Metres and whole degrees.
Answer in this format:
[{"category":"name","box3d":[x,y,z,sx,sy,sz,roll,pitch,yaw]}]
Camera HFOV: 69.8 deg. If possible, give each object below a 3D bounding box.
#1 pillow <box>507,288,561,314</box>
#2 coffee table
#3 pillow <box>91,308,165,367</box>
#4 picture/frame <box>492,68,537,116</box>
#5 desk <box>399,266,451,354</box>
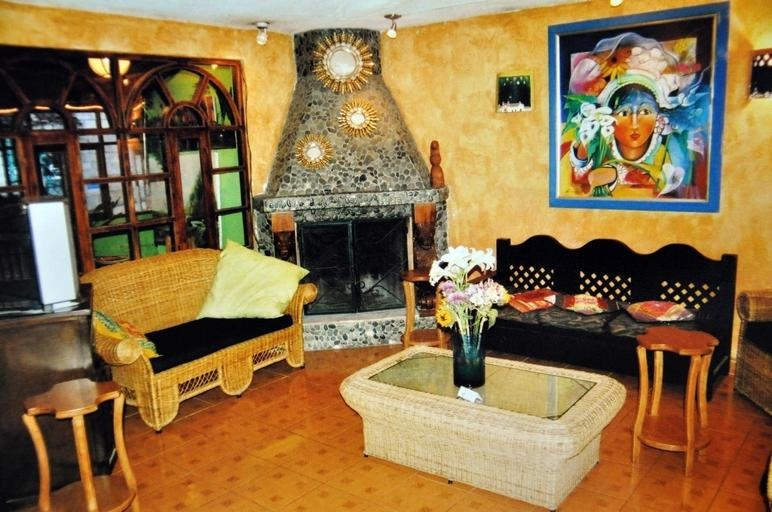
[{"category":"pillow","box3d":[1.556,0.488,5.838,0.441,0.068,0.293,-5,23,14]},{"category":"coffee table","box3d":[0.776,1.342,4.388,1.907,0.820,0.920,4,10,27]},{"category":"pillow","box3d":[-2.212,0.710,4.729,0.442,0.306,0.786,-23,32,-37]},{"category":"picture/frame","box3d":[1.448,-1.838,6.167,0.678,0.551,0.074,0,1,23]},{"category":"desk","box3d":[0.434,0.635,6.099,0.644,0.820,0.568,1,4,-5]}]
